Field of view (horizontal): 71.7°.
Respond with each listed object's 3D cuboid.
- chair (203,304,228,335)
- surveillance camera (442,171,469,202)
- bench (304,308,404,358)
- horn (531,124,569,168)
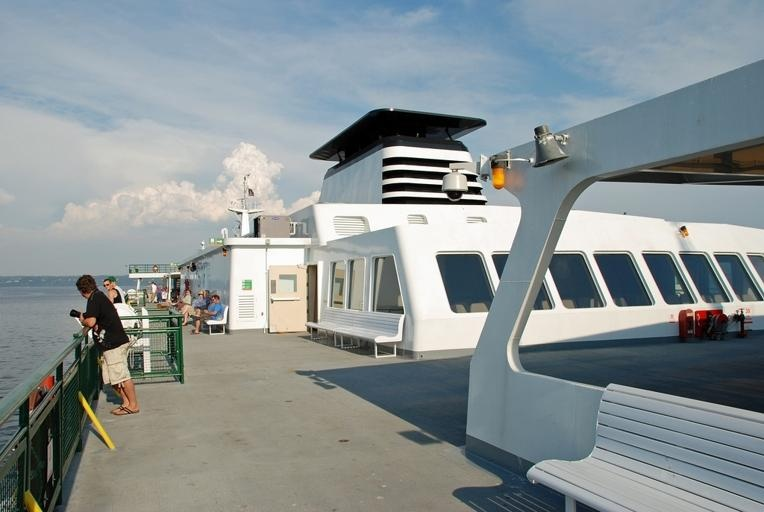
[{"bbox_3d":[-6.139,2.521,20.026,0.989,1.093,2.163,2,-4,-24],"label":"chair"},{"bbox_3d":[0.912,-0.875,6.875,0.392,0.418,0.384,0,-3,-9],"label":"surveillance camera"},{"bbox_3d":[-0.865,2.082,14.928,1.064,1.117,4.570,0,-3,-27],"label":"bench"},{"bbox_3d":[1.946,-1.257,6.068,0.366,0.400,0.468,-1,-3,7],"label":"horn"}]
